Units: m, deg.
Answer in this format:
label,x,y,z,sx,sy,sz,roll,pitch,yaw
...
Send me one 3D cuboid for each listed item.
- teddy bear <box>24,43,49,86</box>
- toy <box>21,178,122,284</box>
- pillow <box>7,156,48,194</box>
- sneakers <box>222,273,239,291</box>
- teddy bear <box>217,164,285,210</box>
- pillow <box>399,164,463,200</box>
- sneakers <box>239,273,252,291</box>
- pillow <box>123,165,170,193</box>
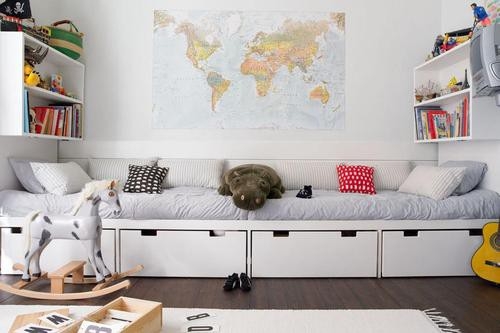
label,x,y,z,sx,sy,sz,roll,pitch,yaw
teddy bear,-2.146,-1.003,3.639,0.155,0.364,0.262,7,8,-6
toy,-1.535,0.569,3.213,0.869,0.887,0.218,-1,-4,3
pillow,-2.245,0.084,3.692,0.117,0.361,0.394,-27,-10,27
sneakers,-0.177,1.045,3.283,0.074,0.074,0.195,-1,-2,14
teddy bear,0.024,0.151,3.794,0.692,0.285,0.906,5,21,4
pillow,1.837,0.146,3.664,0.130,0.324,0.447,29,-16,-23
sneakers,-0.038,1.050,3.336,0.066,0.058,0.163,-1,20,-14
pillow,-1.164,0.207,4.092,0.352,0.315,0.110,5,-34,-12
